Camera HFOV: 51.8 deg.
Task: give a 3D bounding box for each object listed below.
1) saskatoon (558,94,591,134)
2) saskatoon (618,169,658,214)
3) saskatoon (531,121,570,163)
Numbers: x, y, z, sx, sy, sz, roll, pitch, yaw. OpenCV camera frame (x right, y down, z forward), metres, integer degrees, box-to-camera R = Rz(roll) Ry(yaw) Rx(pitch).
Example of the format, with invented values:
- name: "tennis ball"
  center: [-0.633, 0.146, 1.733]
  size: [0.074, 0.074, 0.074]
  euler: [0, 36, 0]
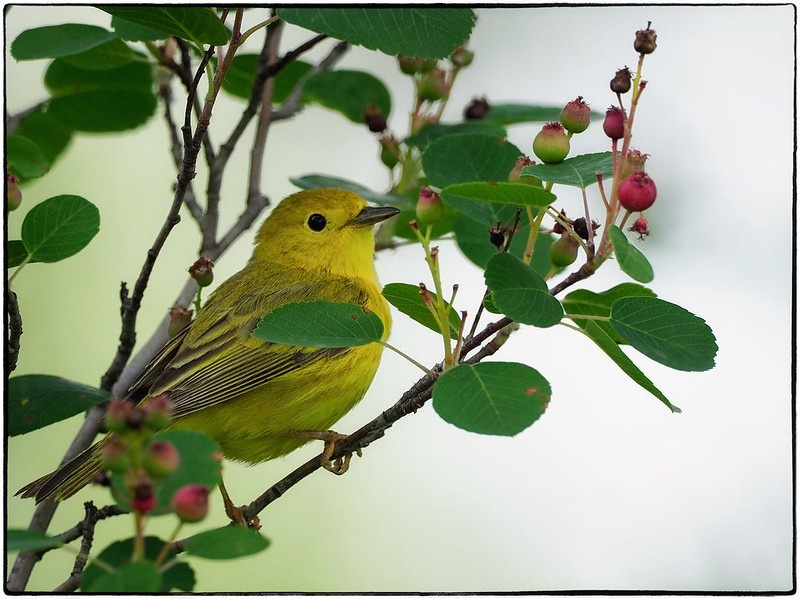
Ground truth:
- name: "saskatoon"
  center: [0.750, -0.777, 3.491]
  size: [0.119, 0.118, 0.166]
  euler: [0, -71, -49]
- name: "saskatoon"
  center: [0.869, -0.397, 3.079]
  size: [0.130, 0.152, 0.131]
  euler: [-14, -12, 36]
- name: "saskatoon"
  center: [0.638, -0.660, 3.471]
  size: [0.151, 0.164, 0.188]
  euler: [15, -52, 27]
